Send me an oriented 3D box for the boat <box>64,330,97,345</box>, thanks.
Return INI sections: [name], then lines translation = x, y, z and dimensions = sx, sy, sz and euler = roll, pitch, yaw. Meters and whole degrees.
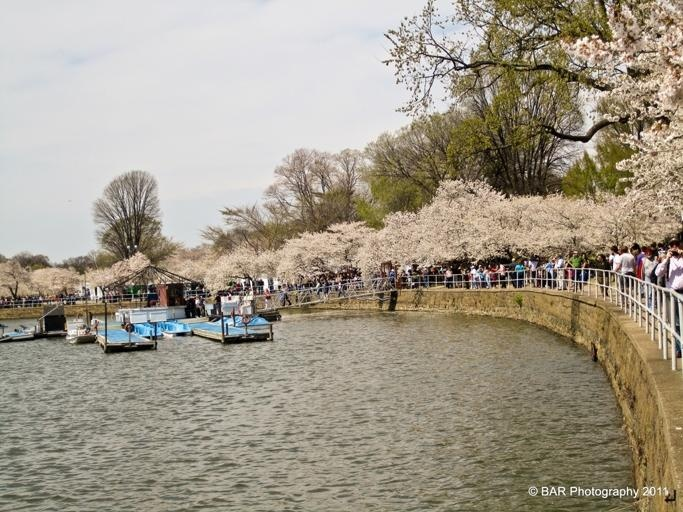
[boat]
translation = -17.360, 5.359, 49.735
dimensions = 1.359, 0.767, 2.597
euler = -7, 6, -40
